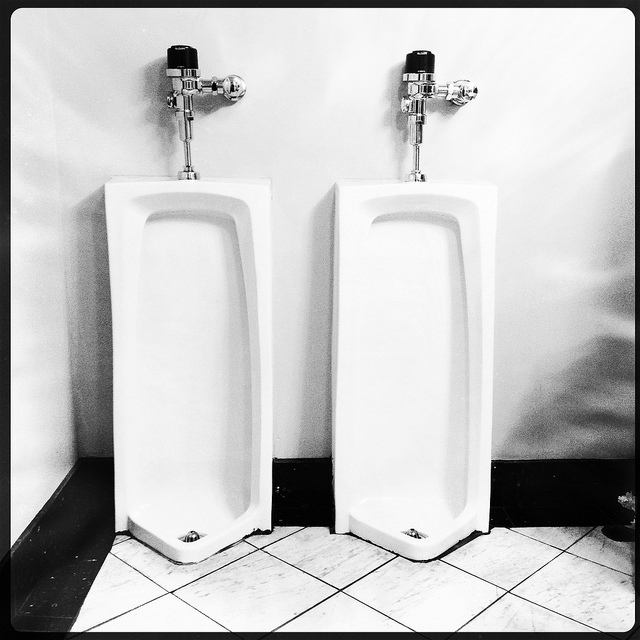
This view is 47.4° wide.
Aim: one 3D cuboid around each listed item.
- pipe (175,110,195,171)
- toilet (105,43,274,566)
[{"bbox_3d":[-0.296,-0.391,1.600,0.042,0.134,0.073,-1,4,-11],"label":"pipe"},{"bbox_3d":[-0.272,-0.023,1.535,0.328,1.069,0.285,0,12,-7],"label":"toilet"}]
